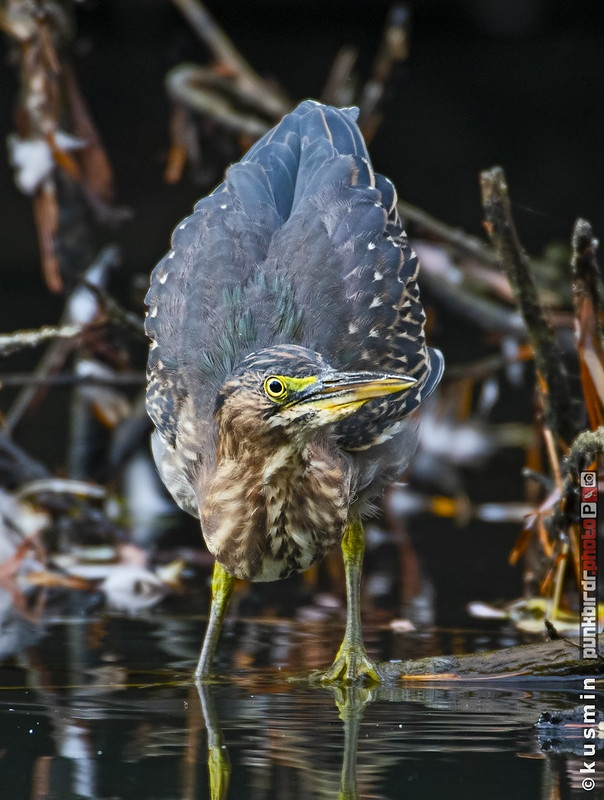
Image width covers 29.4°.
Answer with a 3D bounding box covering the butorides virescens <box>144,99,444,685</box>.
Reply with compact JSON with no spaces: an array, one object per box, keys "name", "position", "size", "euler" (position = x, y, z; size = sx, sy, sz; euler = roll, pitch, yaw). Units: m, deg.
[{"name":"butorides virescens","position":[-0.050,-0.073,2.695],"size":[0.751,1.437,1.045],"euler":[1,3,6]}]
